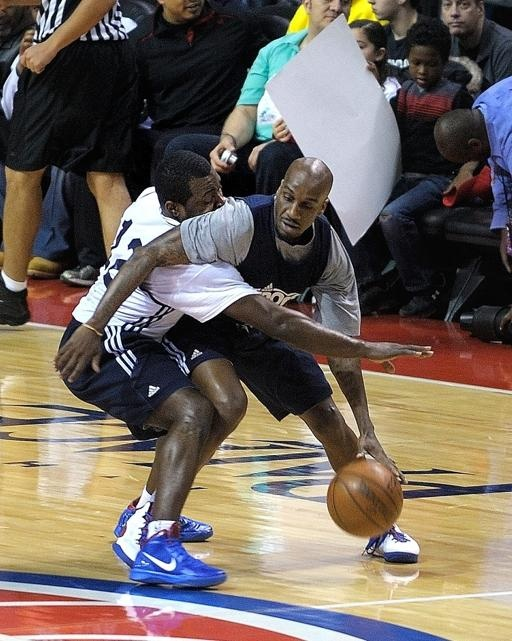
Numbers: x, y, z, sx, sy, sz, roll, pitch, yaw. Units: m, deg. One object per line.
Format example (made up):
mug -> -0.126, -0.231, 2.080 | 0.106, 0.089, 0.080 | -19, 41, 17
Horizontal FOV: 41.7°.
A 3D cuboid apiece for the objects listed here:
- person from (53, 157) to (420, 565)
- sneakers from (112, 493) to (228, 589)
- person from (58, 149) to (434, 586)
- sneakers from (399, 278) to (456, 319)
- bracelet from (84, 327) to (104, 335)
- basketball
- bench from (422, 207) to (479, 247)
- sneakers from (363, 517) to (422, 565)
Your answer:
person -> 0.053, -0.042, 1.999 | 1.001, 1.145, 0.957 | 22, 26, 33
sneakers -> -0.207, 0.421, 1.310 | 0.328, 0.128, 0.102 | 0, -3, 38
person -> -0.048, 0.073, 1.491 | 0.748, 0.907, 0.601 | 0, 4, -28
sneakers -> 1.135, -0.139, 4.379 | 0.290, 0.240, 0.086 | -15, 52, -4
bracelet -> -0.332, 0.020, 1.363 | 0.025, 0.006, 0.019 | 25, -1, -12
basketball -> 0.224, 0.378, 1.415 | 0.129, 0.147, 0.142 | 0, 5, -34
bench -> 1.192, -0.575, 4.144 | 0.290, 0.083, 0.257 | 1, 19, 6
sneakers -> 0.297, 0.491, 1.477 | 0.070, 0.050, 0.120 | 2, -7, -21
